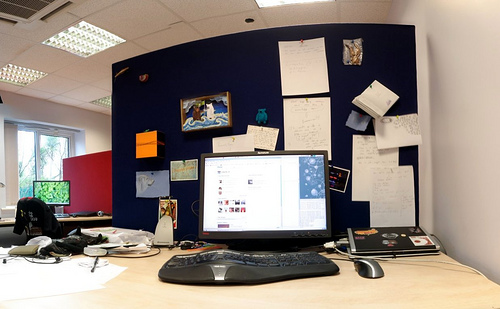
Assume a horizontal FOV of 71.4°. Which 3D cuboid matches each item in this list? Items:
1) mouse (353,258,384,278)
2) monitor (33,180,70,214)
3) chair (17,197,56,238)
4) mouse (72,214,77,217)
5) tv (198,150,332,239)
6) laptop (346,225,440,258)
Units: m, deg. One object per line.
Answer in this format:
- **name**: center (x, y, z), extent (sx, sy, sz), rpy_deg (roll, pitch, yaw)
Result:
- **mouse**: center (0.747, 0.693, 2.201), extent (0.152, 0.071, 0.248), rpy_deg (-1, 6, -5)
- **monitor**: center (-3.019, 0.659, 5.366), extent (0.620, 0.529, 0.160), rpy_deg (-1, -1, 10)
- **chair**: center (-2.606, 0.792, 4.362), extent (0.424, 0.489, 0.205), rpy_deg (-4, 9, 14)
- **mouse**: center (-2.582, 0.902, 5.121), extent (0.070, 0.037, 0.038), rpy_deg (-10, -13, 39)
- **tv**: center (0.128, 0.314, 2.564), extent (0.730, 0.456, 0.070), rpy_deg (0, -11, 2)
- **laptop**: center (0.979, 0.603, 2.407), extent (0.415, 0.063, 0.275), rpy_deg (-2, 10, 3)
